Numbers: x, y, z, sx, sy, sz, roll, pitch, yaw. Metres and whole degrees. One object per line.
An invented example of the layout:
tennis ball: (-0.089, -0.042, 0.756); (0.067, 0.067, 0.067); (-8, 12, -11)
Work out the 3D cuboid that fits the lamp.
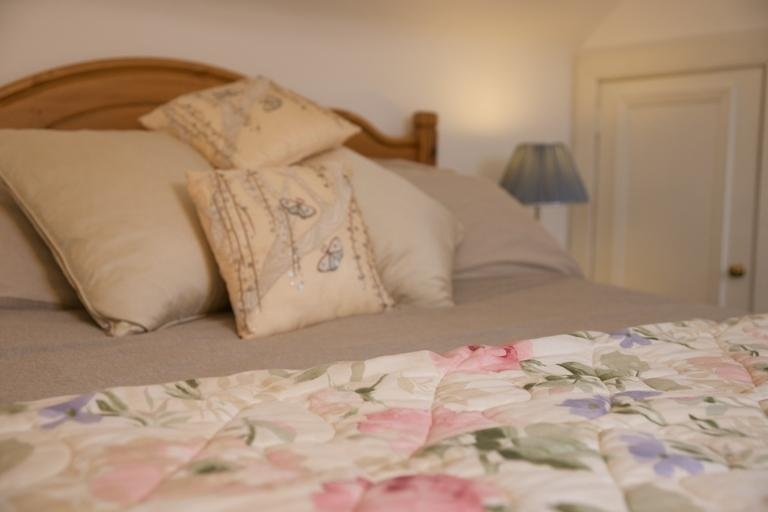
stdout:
lamp: (0.767, -0.312, 2.787); (0.499, 0.454, 0.457); (0, 12, 14)
